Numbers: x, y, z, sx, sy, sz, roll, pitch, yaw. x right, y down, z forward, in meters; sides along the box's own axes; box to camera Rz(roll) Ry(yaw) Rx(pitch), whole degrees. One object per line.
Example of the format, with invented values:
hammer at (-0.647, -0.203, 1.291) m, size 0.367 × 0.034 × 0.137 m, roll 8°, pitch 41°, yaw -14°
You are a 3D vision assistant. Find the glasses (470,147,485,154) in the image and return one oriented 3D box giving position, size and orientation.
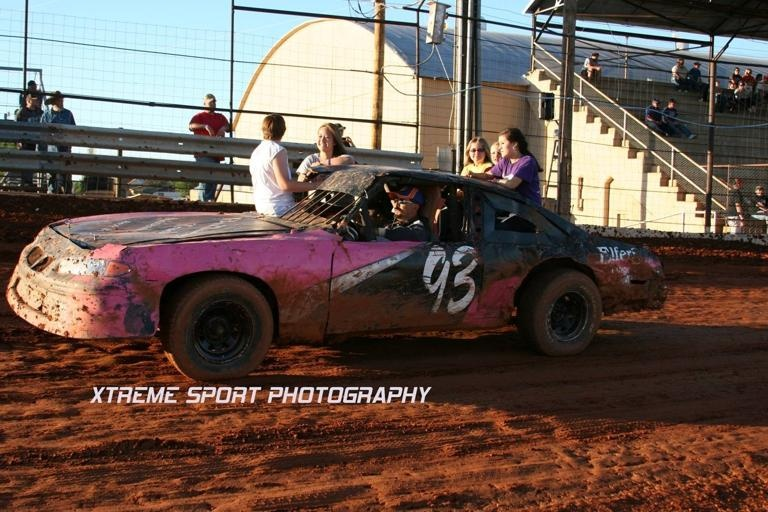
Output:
glasses at (1.178, -1.390, 8.820) m, size 0.103 × 0.035 × 0.075 m, roll 11°, pitch 9°, yaw -35°

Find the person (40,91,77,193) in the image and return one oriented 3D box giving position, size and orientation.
person at (-6.362, -2.266, 13.306) m, size 0.767 × 1.871 × 0.584 m, roll -6°, pitch 15°, yaw -30°

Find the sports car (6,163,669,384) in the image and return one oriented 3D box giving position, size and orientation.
sports car at (-0.185, 0.175, 6.830) m, size 5.773 × 1.406 × 2.311 m, roll 3°, pitch 1°, yaw -19°

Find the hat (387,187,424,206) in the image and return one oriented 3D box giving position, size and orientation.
hat at (0.209, -0.588, 6.821) m, size 0.296 × 0.134 × 0.187 m, roll 11°, pitch -3°, yaw -7°
